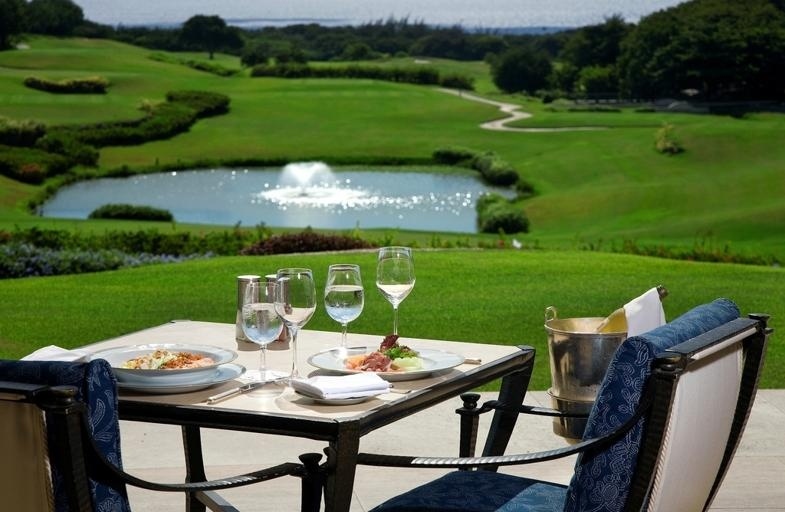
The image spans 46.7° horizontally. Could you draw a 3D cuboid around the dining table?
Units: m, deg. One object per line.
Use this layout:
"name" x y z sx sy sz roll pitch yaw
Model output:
"dining table" -0.232 0.862 5.502 1.614 1.038 1.681 3 4 28
